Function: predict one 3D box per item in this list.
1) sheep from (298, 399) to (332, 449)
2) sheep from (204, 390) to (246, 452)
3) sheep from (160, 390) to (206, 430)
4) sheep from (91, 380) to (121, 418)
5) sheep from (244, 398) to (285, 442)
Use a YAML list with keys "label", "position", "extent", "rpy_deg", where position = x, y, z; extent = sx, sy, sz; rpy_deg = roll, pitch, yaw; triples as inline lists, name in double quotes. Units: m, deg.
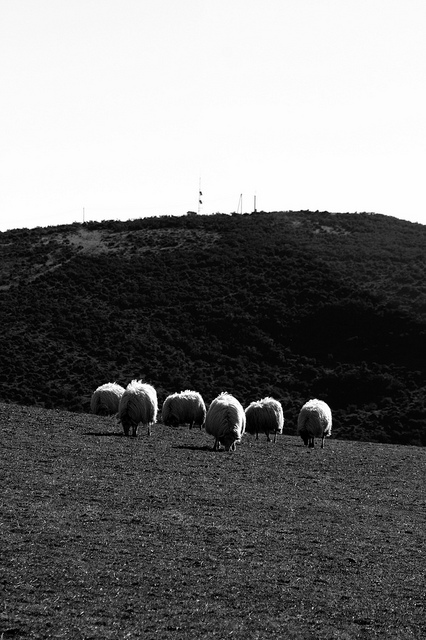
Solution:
- label: "sheep"
  position: [2.278, 2.344, 28.142]
  extent: [0.499, 1.156, 1.381]
  rpy_deg: [6, 6, 23]
- label: "sheep"
  position: [0.185, 2.150, 25.633]
  extent: [0.603, 1.124, 1.665]
  rpy_deg: [4, 18, -13]
- label: "sheep"
  position: [-0.633, 2.236, 30.367]
  extent: [0.581, 1.092, 1.170]
  rpy_deg: [2, -4, 44]
- label: "sheep"
  position: [-2.508, 1.925, 30.714]
  extent: [0.472, 0.819, 1.213]
  rpy_deg: [0, 4, -3]
- label: "sheep"
  position: [1.200, 2.326, 29.275]
  extent: [0.878, 1.014, 0.532]
  rpy_deg: [1, -7, 5]
